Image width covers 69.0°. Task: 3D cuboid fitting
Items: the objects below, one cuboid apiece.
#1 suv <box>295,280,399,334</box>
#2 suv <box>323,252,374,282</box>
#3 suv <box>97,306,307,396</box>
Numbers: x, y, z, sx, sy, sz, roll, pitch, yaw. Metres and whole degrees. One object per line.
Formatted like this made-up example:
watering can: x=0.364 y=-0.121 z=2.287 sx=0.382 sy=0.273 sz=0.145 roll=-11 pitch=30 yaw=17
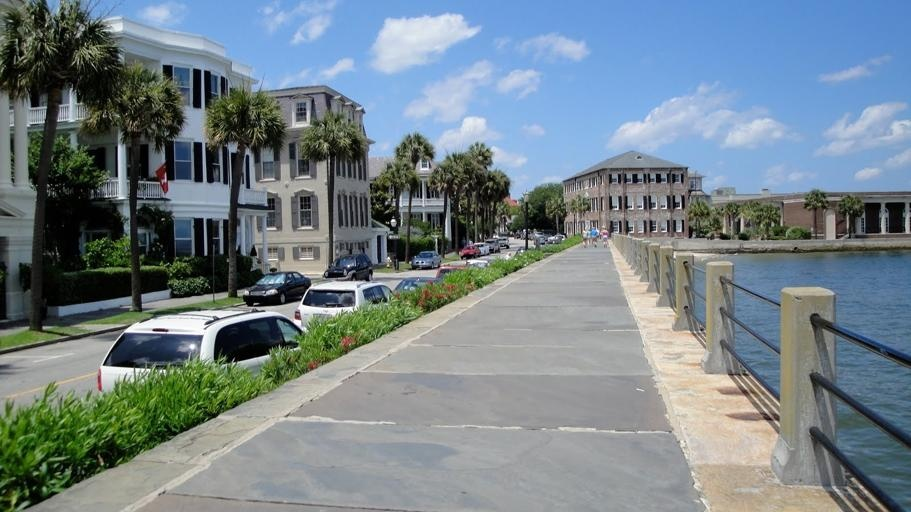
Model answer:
suv: x=-3.792 y=1.806 z=21.765 sx=1.608 sy=1.243 sz=2.819 roll=1 pitch=8 yaw=22
suv: x=-7.355 y=0.772 z=45.787 sx=1.783 sy=1.517 sz=3.922 roll=-2 pitch=-3 yaw=14
suv: x=-5.536 y=1.828 z=14.675 sx=2.040 sy=1.531 sz=3.643 roll=2 pitch=6 yaw=25
